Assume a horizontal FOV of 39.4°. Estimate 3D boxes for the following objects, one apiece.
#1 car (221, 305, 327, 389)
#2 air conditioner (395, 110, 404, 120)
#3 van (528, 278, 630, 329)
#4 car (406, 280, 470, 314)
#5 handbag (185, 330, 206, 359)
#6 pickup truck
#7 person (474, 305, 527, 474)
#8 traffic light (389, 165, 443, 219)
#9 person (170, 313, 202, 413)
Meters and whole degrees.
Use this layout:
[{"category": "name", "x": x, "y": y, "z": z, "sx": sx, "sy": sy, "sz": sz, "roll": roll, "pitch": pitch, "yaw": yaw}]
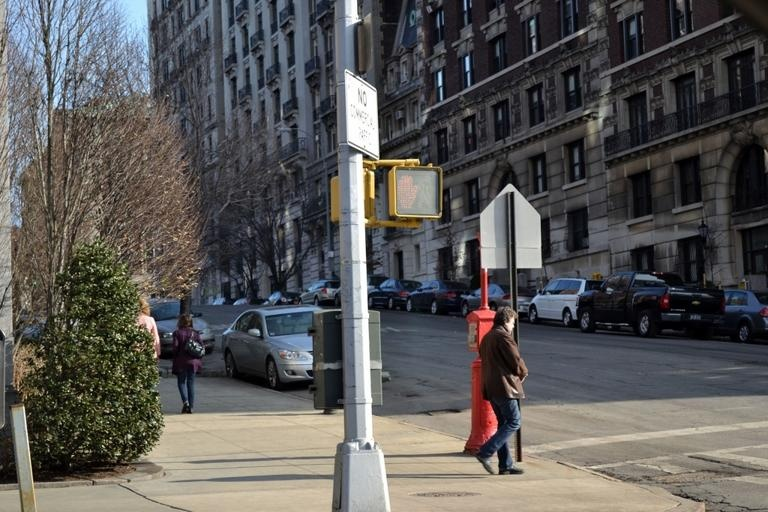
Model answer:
[{"category": "car", "x": -2.929, "y": 2.321, "z": 27.648, "sx": 2.103, "sy": 1.975, "sz": 5.172, "roll": 1, "pitch": -2, "yaw": -25}, {"category": "air conditioner", "x": 0.982, "y": -9.678, "z": 72.719, "sx": 0.476, "sy": 0.700, "sz": 0.712, "roll": 2, "pitch": -8, "yaw": -21}, {"category": "van", "x": 7.321, "y": 1.699, "z": 42.787, "sx": 1.438, "sy": 1.423, "sz": 2.716, "roll": 0, "pitch": 2, "yaw": -26}, {"category": "car", "x": 2.531, "y": 1.938, "z": 49.512, "sx": 1.267, "sy": 1.570, "sz": 4.225, "roll": -4, "pitch": 4, "yaw": -27}, {"category": "handbag", "x": -4.288, "y": 2.034, "z": 24.023, "sx": 0.354, "sy": 0.635, "sz": 0.373, "roll": -2, "pitch": 4, "yaw": -1}, {"category": "pickup truck", "x": 9.040, "y": 1.722, "z": 37.605, "sx": 2.240, "sy": 1.555, "sz": 4.135, "roll": 2, "pitch": -2, "yaw": -23}, {"category": "person", "x": 2.061, "y": 2.395, "z": 18.920, "sx": 0.845, "sy": 2.927, "sz": 0.845, "roll": -1, "pitch": 5, "yaw": 7}, {"category": "traffic light", "x": 0.467, "y": -1.004, "z": 16.631, "sx": 0.841, "sy": 0.825, "sz": 0.331, "roll": -2, "pitch": 4, "yaw": 0}, {"category": "person", "x": -4.472, "y": 2.477, "z": 24.205, "sx": 0.770, "sy": 2.110, "sz": 0.858, "roll": 0, "pitch": -3, "yaw": -12}]
